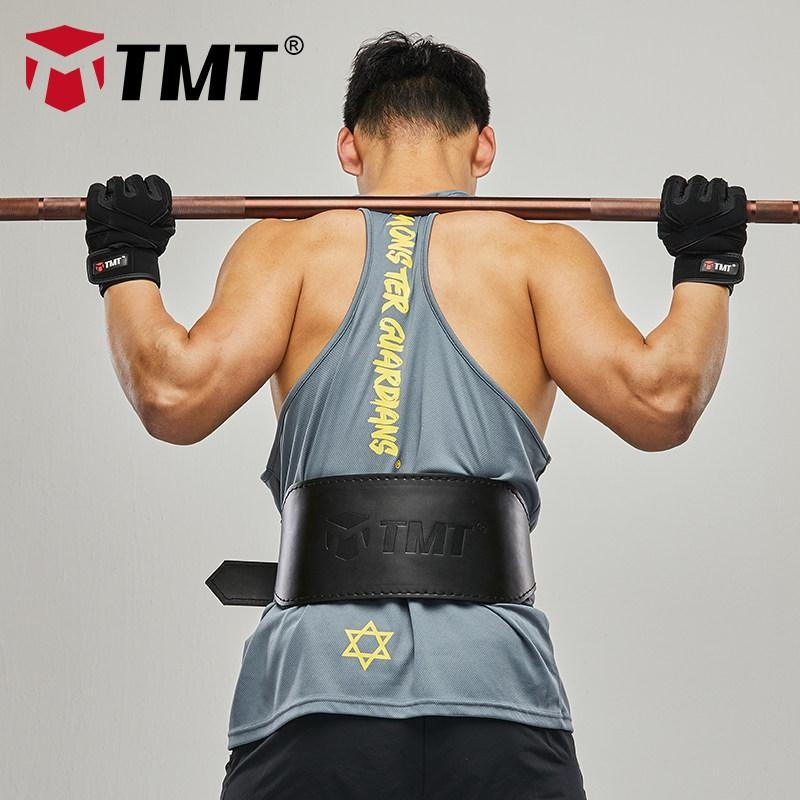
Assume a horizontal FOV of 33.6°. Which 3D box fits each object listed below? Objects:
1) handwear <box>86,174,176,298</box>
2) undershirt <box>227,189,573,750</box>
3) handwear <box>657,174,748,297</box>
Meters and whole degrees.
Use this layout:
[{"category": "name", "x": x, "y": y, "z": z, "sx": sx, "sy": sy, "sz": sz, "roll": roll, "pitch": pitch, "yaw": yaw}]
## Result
[{"category": "handwear", "x": -0.526, "y": -0.331, "z": 2.557, "sx": 0.183, "sy": 0.234, "sz": 0.109, "roll": -1, "pitch": -21, "yaw": -9}, {"category": "undershirt", "x": 0.021, "y": 0.106, "z": 2.353, "sx": 0.526, "sy": 0.833, "sz": 0.261, "roll": -1, "pitch": -7, "yaw": 0}, {"category": "handwear", "x": 0.591, "y": -0.326, "z": 2.566, "sx": 0.180, "sy": 0.226, "sz": 0.104, "roll": 0, "pitch": -15, "yaw": 5}]
